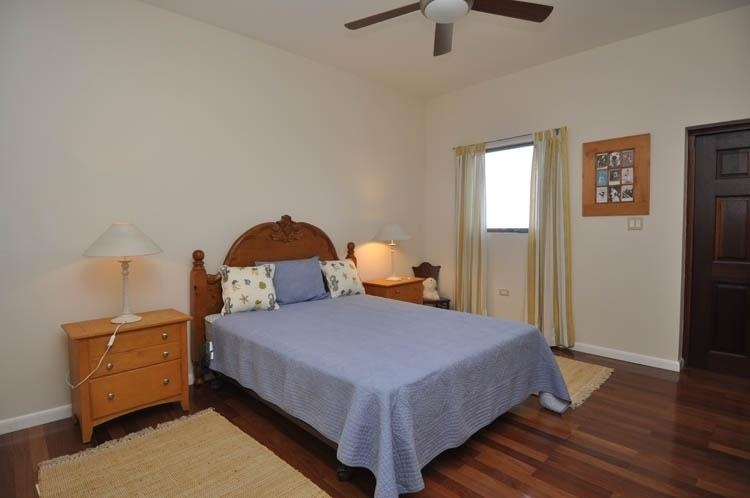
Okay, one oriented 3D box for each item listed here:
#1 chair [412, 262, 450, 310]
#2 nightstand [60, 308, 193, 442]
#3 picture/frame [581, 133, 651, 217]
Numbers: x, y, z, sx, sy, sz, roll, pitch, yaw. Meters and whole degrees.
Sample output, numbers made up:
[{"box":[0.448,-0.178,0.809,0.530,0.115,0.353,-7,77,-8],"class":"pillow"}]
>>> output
[{"box":[0.769,0.607,7.041,0.439,0.744,0.537,-6,15,-21],"class":"chair"},{"box":[-2.351,1.130,4.810,0.606,0.953,1.031,8,5,31],"class":"nightstand"},{"box":[2.776,-0.852,5.702,0.940,1.270,0.086,3,4,44],"class":"picture/frame"}]
